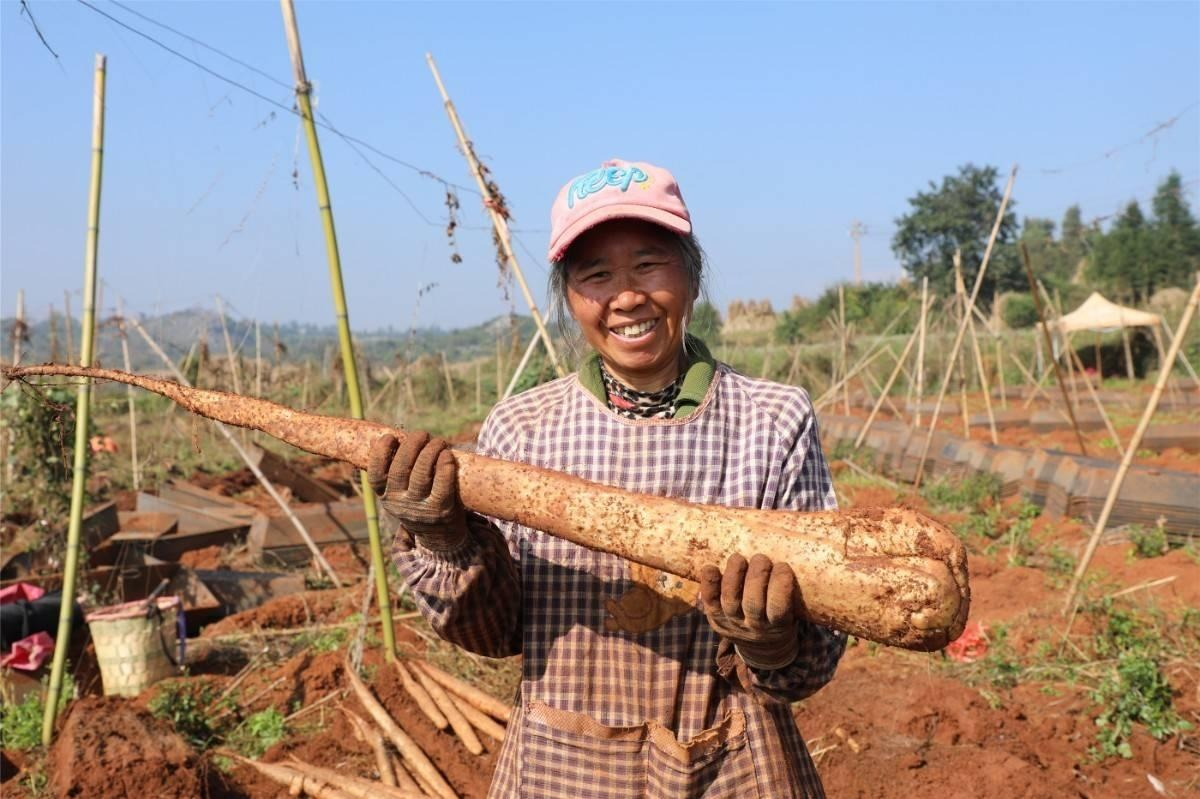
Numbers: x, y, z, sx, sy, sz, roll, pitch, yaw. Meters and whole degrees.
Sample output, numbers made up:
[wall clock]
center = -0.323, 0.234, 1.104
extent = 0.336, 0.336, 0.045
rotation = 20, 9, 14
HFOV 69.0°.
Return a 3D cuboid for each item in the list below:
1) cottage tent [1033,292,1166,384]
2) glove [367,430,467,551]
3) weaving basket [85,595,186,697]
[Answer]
[cottage tent]
center = 5.240, -0.589, 9.034
extent = 0.728, 0.524, 0.772
rotation = -3, -4, 42
[glove]
center = -0.926, 0.490, 4.852
extent = 0.484, 0.598, 1.018
rotation = 3, -11, 13
[weaving basket]
center = -4.082, 2.172, 7.609
extent = 0.585, 0.737, 0.642
rotation = -5, -2, 2
